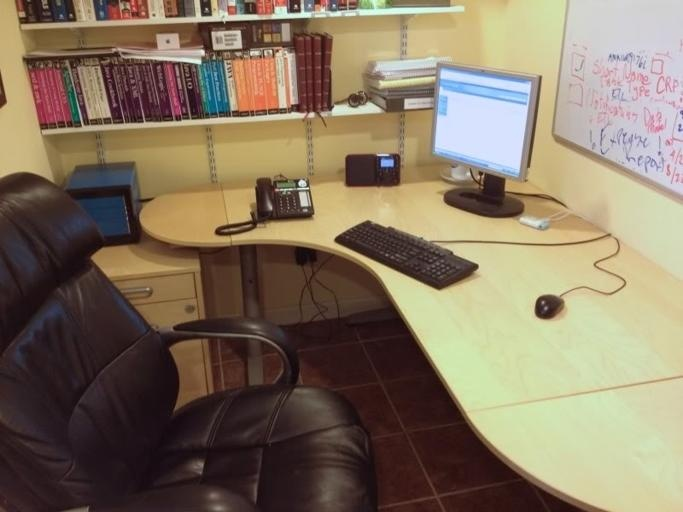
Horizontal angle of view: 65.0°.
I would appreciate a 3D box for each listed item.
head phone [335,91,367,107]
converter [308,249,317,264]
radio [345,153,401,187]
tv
[{"bbox_3d":[0.050,-0.797,2.749,0.138,0.059,0.106,-1,16,16],"label":"head phone"},{"bbox_3d":[-0.166,-0.005,2.980,0.053,0.076,0.044,6,33,9],"label":"converter"},{"bbox_3d":[0.149,-0.433,2.698,0.245,0.164,0.059,0,9,6],"label":"radio"},{"bbox_3d":[0.656,-0.524,2.413,0.303,0.633,0.529,-24,37,-33],"label":"tv"}]
